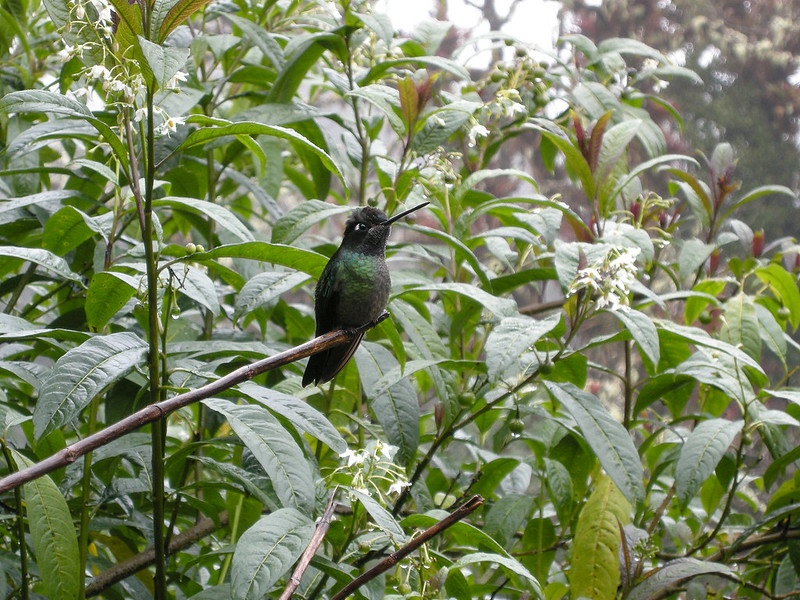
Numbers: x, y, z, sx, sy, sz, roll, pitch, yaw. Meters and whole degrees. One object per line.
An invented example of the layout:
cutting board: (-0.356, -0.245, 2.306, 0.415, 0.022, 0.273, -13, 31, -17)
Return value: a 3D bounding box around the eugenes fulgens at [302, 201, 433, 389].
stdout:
eugenes fulgens: (-0.160, -0.045, 4.162, 0.616, 0.525, 0.241, -25, -24, 36)
